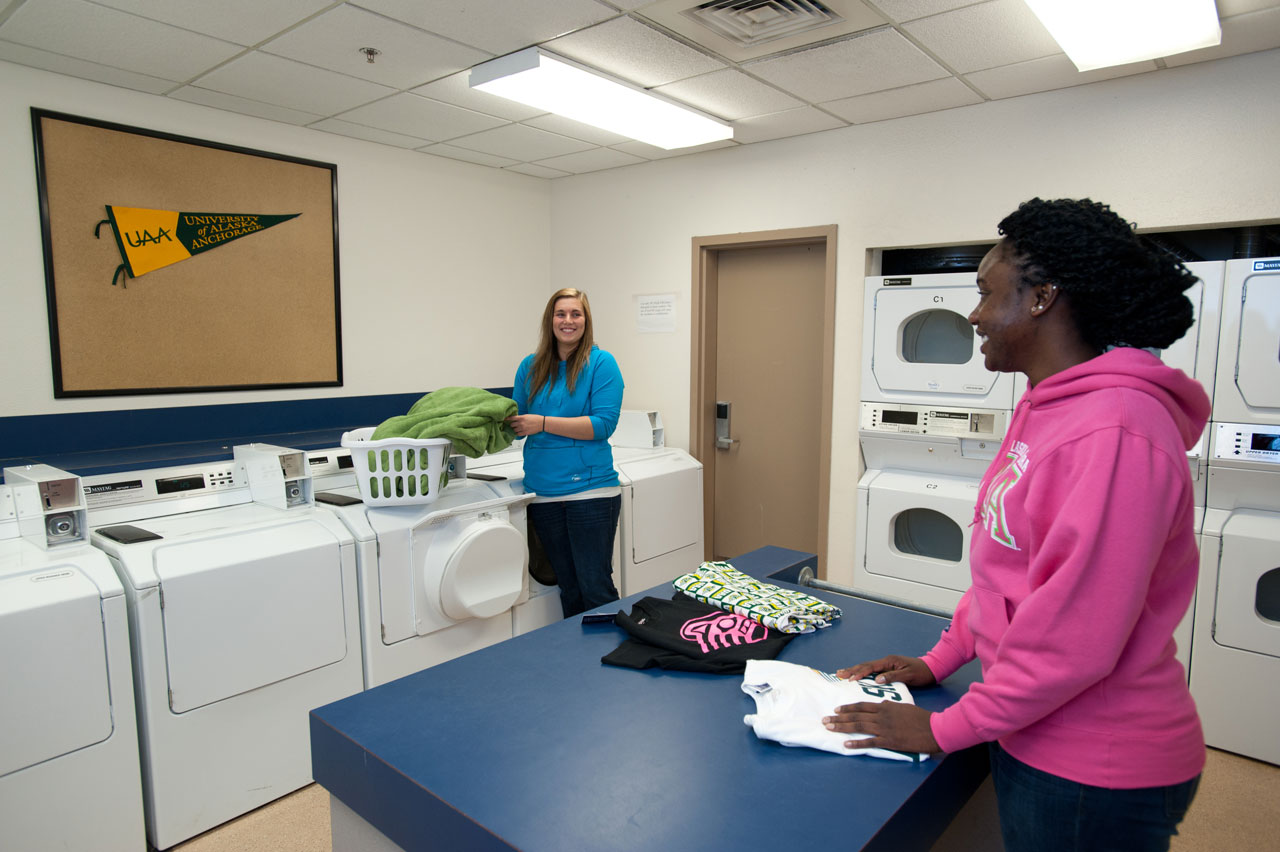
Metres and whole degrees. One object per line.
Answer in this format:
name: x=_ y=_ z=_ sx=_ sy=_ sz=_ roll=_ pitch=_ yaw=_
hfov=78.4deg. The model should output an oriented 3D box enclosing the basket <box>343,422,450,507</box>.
basket: x=-0.997 y=0.166 z=3.270 sx=0.334 sy=0.204 sz=0.368 roll=0 pitch=-4 yaw=-14
